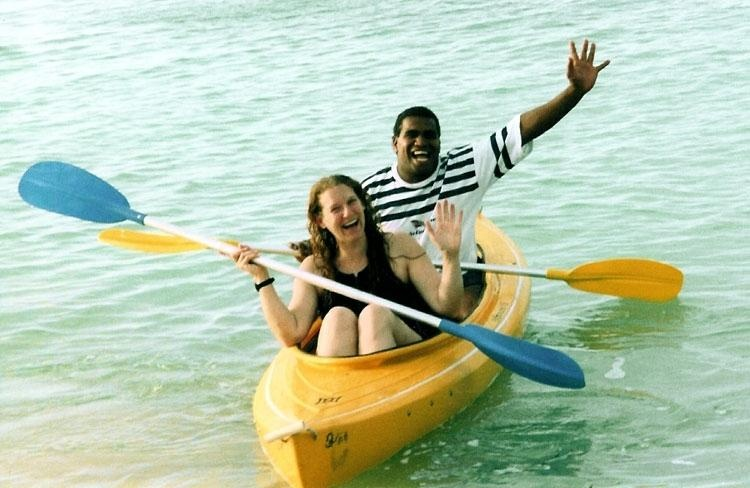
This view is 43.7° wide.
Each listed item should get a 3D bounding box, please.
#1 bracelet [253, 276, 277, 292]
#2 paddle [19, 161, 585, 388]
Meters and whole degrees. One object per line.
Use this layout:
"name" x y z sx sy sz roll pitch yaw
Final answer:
"bracelet" -0.863 0.311 7.406 0.131 0.048 0.131 -27 10 -40
"paddle" -0.622 0.197 7.687 6.399 0.279 0.509 16 76 28
